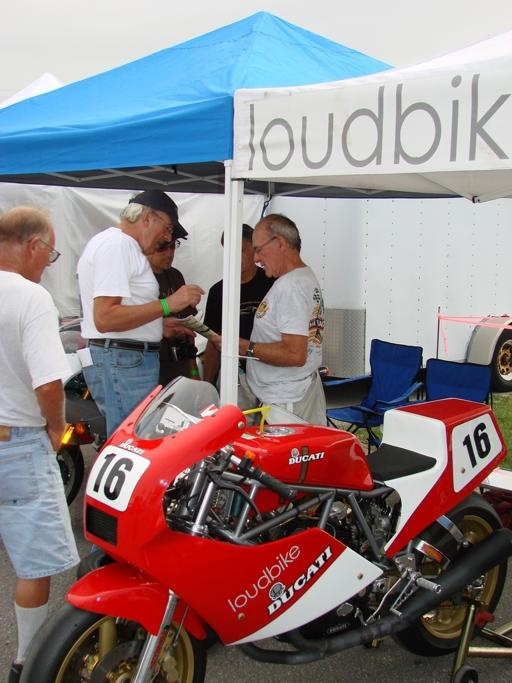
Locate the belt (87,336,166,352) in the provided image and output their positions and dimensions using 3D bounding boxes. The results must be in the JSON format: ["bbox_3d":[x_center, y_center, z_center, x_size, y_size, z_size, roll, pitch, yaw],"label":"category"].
[{"bbox_3d":[-0.661,0.025,2.857,0.352,0.102,0.124,-5,13,-19],"label":"belt"}]

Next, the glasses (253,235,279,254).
[{"bbox_3d":[0.057,-0.520,3.052,0.095,0.029,0.091,-43,4,-10],"label":"glasses"}]

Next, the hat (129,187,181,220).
[{"bbox_3d":[-0.505,-0.689,2.929,0.214,0.105,0.148,18,4,-36],"label":"hat"}]

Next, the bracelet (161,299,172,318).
[{"bbox_3d":[-0.468,-0.166,2.856,0.080,0.071,0.074,-2,-18,-13],"label":"bracelet"}]

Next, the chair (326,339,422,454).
[{"bbox_3d":[0.990,0.548,4.936,0.791,1.012,0.791,-10,12,-27],"label":"chair"}]

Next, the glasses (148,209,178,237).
[{"bbox_3d":[-0.492,-0.613,2.980,0.108,0.209,0.143,-18,19,-2],"label":"glasses"}]
